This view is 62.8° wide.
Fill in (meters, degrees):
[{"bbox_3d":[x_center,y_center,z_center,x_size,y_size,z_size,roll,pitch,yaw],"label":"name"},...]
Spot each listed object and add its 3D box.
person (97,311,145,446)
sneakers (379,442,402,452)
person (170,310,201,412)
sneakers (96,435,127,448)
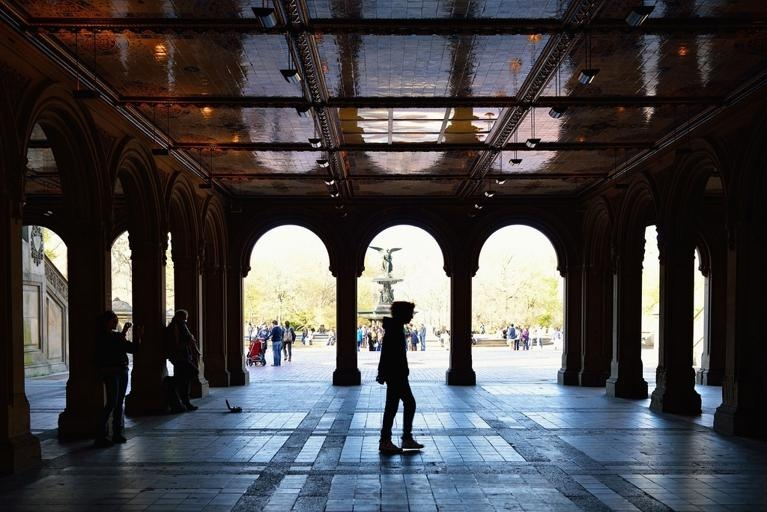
[{"bbox_3d":[-4.561,2.023,10.675,0.595,2.239,0.741,2,-9,-13],"label":"person"},{"bbox_3d":[0.088,2.966,9.736,0.350,0.223,0.123,-3,-1,-6],"label":"sneakers"},{"bbox_3d":[-4.389,2.251,13.648,0.576,2.176,0.874,-9,-12,44],"label":"person"},{"bbox_3d":[-4.487,3.044,10.322,0.479,0.195,0.147,-2,3,-37],"label":"sneakers"}]
